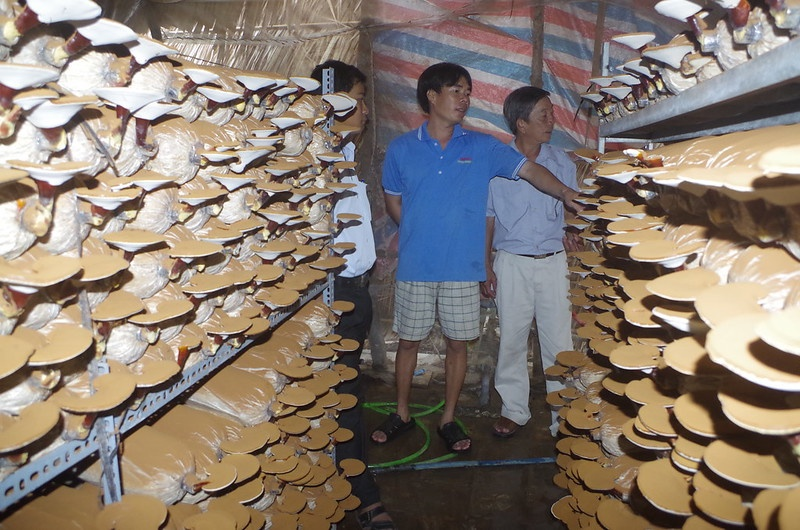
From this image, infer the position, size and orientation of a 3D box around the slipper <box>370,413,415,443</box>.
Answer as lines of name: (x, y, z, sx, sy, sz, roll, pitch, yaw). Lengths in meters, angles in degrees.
slipper: (-0.065, 1.313, 4.902, 0.417, 0.153, 0.150, -21, 28, -30)

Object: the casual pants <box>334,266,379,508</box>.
casual pants: (-0.350, 0.801, 3.951, 0.238, 1.452, 0.304, -13, -14, 43)

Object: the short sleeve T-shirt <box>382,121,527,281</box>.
short sleeve T-shirt: (0.412, -0.463, 4.622, 1.269, 1.163, 0.483, 6, 15, 28)

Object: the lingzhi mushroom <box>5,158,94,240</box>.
lingzhi mushroom: (-1.093, -0.204, 1.825, 0.242, 0.222, 0.229, 13, 25, 2)

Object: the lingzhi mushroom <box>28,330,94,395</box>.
lingzhi mushroom: (-1.097, 0.321, 1.923, 0.175, 0.215, 0.262, 0, 7, -29)
